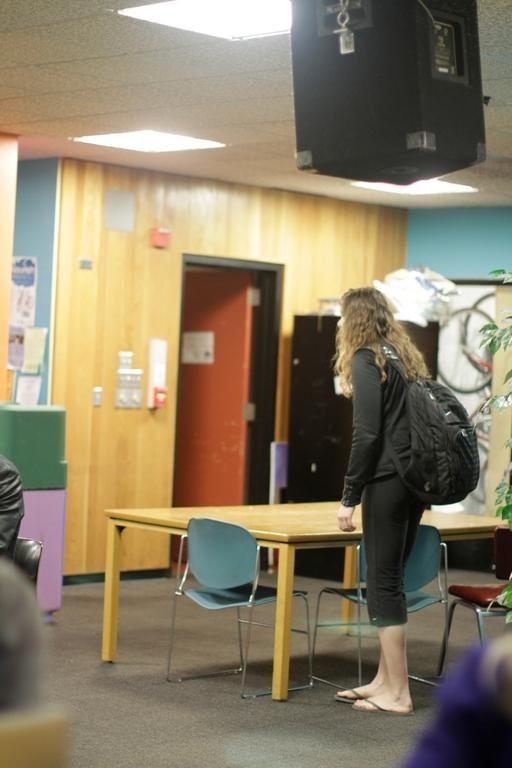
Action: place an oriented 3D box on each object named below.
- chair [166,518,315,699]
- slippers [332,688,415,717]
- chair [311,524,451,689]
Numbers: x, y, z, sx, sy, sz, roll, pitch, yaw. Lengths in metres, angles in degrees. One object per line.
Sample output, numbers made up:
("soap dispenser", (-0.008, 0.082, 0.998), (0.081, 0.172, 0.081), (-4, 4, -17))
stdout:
("chair", (-0.090, 1.215, 3.980), (0.586, 0.951, 0.571), (-5, -7, 43))
("slippers", (0.624, 1.655, 3.779), (0.128, 0.157, 0.407), (4, -8, -39))
("chair", (0.763, 1.326, 4.214), (0.831, 1.030, 0.786), (4, -5, -1))
